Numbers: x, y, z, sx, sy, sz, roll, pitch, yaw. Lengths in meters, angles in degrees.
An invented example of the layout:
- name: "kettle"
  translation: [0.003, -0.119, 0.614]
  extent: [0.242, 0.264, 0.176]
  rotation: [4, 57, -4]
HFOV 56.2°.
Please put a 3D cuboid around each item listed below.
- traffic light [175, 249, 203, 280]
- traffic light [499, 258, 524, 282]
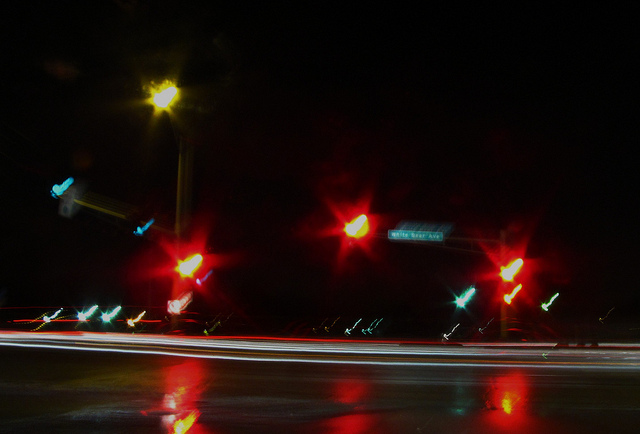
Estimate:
- name: "traffic light"
  translation: [-4.630, 1.566, 20.768]
  extent: [0.967, 1.141, 0.649]
  rotation: [8, -44, 3]
- name: "traffic light"
  translation: [9.799, 2.679, 30.792]
  extent: [0.892, 1.447, 0.345]
  rotation: [52, -37, 0]
